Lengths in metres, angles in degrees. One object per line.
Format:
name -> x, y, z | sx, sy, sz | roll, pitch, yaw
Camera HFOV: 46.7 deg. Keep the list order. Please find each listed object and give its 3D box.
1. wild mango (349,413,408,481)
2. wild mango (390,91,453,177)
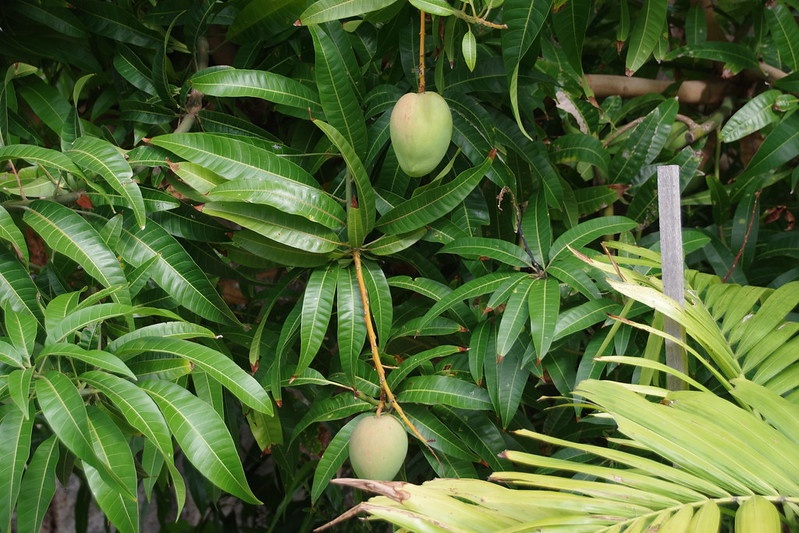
wild mango -> -0.032, 0.262, 1.349 | 0.079, 0.086, 0.107 | 1, 81, -10
wild mango -> 0.025, -0.201, 1.406 | 0.100, 0.143, 0.104 | 9, 16, 29
